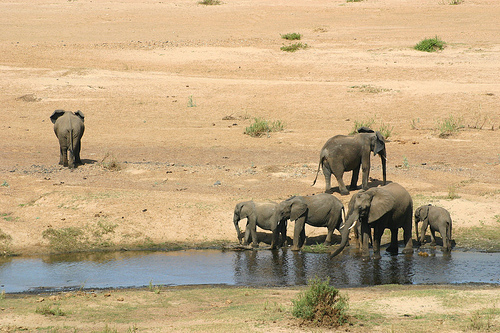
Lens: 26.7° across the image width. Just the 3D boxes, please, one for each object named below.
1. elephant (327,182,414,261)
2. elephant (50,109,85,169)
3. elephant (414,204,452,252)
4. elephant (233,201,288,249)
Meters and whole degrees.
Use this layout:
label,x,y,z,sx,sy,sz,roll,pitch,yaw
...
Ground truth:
label,x,y,z,sx,sy,sz,roll,pitch,yaw
elephant,5.452,2.416,45.811,4.460,3.221,2.178,-6,8,-29
elephant,-9.520,-1.545,54.562,1.881,2.738,4.606,1,8,-12
elephant,8.121,2.593,46.843,1.055,1.779,2.289,-1,7,-36
elephant,0.395,2.572,46.937,2.646,1.981,1.169,3,2,24
